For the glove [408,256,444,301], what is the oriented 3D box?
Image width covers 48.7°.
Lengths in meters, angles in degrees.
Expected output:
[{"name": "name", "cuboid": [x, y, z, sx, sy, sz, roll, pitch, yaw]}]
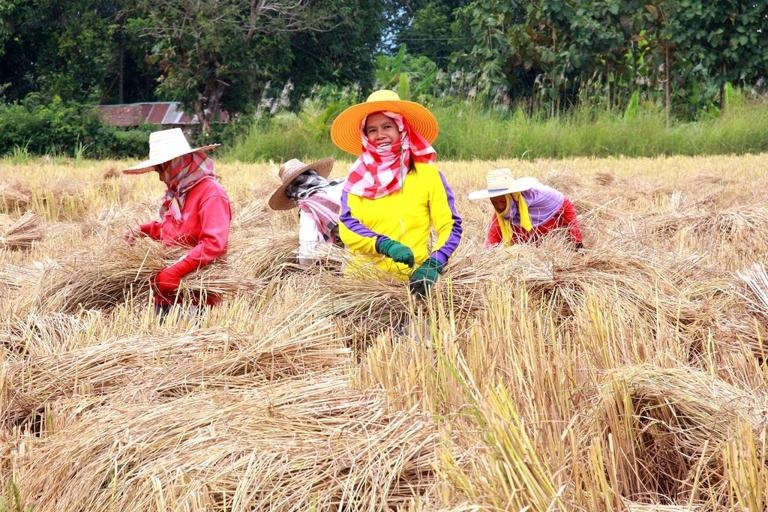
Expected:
[{"name": "glove", "cuboid": [0.309, 0.144, 6.346, 0.178, 0.097, 0.313, 21, 54, 17]}]

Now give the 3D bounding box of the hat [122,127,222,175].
[{"name": "hat", "cuboid": [-1.829, -0.922, 7.402, 0.609, 0.181, 0.535, -23, 2, 7]}]

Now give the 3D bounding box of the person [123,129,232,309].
[{"name": "person", "cuboid": [-1.742, -0.340, 7.244, 0.817, 1.455, 0.981, -6, 14, -22]}]

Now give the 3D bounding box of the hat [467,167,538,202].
[{"name": "hat", "cuboid": [1.060, -0.644, 7.547, 0.601, 0.291, 0.463, 1, 14, 7]}]

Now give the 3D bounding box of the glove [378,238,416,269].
[{"name": "glove", "cuboid": [0.093, -0.032, 6.462, 0.108, 0.173, 0.277, -24, 22, -23]}]

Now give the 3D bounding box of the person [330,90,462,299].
[{"name": "person", "cuboid": [0.047, -0.167, 6.824, 1.001, 2.173, 0.815, -1, -8, 22]}]

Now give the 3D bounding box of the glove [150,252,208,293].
[{"name": "glove", "cuboid": [-1.683, 0.131, 6.924, 0.248, 0.157, 0.404, 27, 60, 16]}]
